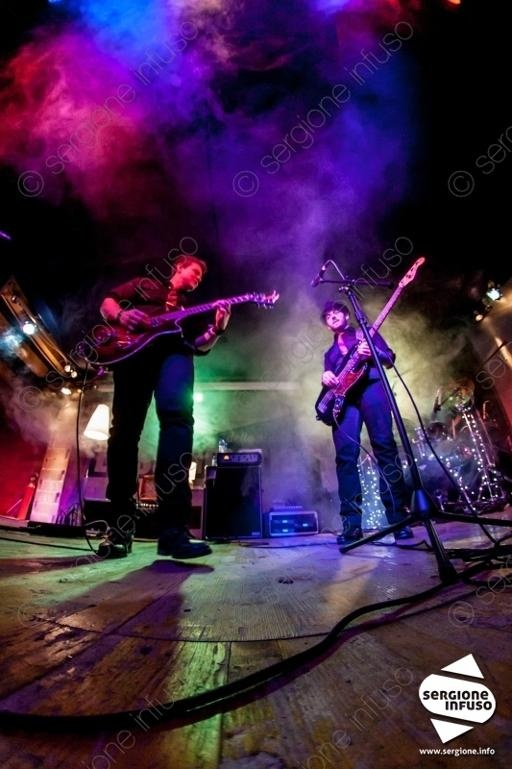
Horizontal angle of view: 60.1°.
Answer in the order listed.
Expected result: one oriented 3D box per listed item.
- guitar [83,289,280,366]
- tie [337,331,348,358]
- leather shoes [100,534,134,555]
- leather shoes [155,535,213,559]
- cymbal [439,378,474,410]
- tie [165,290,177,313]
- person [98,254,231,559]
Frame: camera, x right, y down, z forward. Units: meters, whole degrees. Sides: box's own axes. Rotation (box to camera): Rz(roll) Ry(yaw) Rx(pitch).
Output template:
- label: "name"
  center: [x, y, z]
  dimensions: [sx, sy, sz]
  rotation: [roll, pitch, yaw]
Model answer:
- label: "guitar"
  center: [-0.471, -0.450, 3.137]
  dimensions: [1.552, 0.458, 0.209]
  rotation: [-15, -38, -14]
- label: "tie"
  center: [0.578, -0.286, 3.021]
  dimensions: [0.051, 0.151, 0.097]
  rotation: [-14, -26, 12]
- label: "leather shoes"
  center: [-0.555, 0.633, 1.767]
  dimensions: [0.105, 0.042, 0.138]
  rotation: [12, -26, -35]
- label: "leather shoes"
  center: [-0.257, 0.561, 1.583]
  dimensions: [0.225, 0.073, 0.082]
  rotation: [-2, -39, 16]
- label: "cymbal"
  center: [2.217, 0.105, 4.939]
  dimensions: [0.313, 0.285, 0.267]
  rotation: [-18, -58, 7]
- label: "tie"
  center: [-0.432, -0.433, 2.279]
  dimensions: [0.086, 0.123, 0.032]
  rotation: [7, -36, -20]
- label: "person"
  center: [-0.428, -0.051, 2.030]
  dimensions: [0.593, 1.552, 0.663]
  rotation: [-4, -15, -3]
